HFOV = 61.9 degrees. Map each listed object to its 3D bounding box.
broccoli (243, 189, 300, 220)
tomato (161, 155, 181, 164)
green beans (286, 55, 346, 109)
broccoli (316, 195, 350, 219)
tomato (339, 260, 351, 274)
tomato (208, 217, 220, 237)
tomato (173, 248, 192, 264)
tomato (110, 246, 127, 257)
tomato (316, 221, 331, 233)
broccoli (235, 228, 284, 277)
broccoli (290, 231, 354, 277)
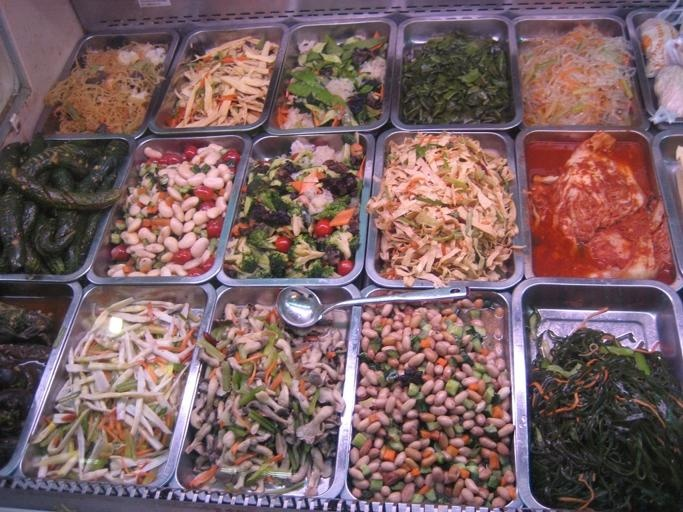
[{"bbox_3d":[-0.457,-0.340,3.711,0.303,0.206,0.123,17,41,-1],"label":"broccoli"},{"bbox_3d":[-1.211,-0.692,4.038,0.091,0.047,0.092,0,26,4],"label":"tomato"},{"bbox_3d":[-0.212,-1.265,4.173,0.409,0.072,0.278,31,55,25],"label":"green beans"},{"bbox_3d":[-0.041,-0.342,3.636,0.181,0.129,0.077,-38,116,-45],"label":"broccoli"},{"bbox_3d":[0.025,0.064,3.545,0.073,0.074,0.086,-5,93,-4],"label":"tomato"},{"bbox_3d":[-0.823,-0.188,3.707,0.081,0.060,0.107,11,77,-1],"label":"tomato"},{"bbox_3d":[-1.021,0.000,3.656,0.106,0.059,0.080,-26,72,-13],"label":"tomato"},{"bbox_3d":[-1.466,-0.039,3.756,0.112,0.040,0.072,-4,67,-3],"label":"tomato"},{"bbox_3d":[-0.110,-0.190,3.589,0.094,0.036,0.092,3,67,-1],"label":"tomato"},{"bbox_3d":[-0.504,0.000,3.600,0.278,0.150,0.326,-1,49,16],"label":"broccoli"},{"bbox_3d":[-0.102,-0.006,3.580,0.347,0.158,0.266,-35,85,15],"label":"broccoli"}]
